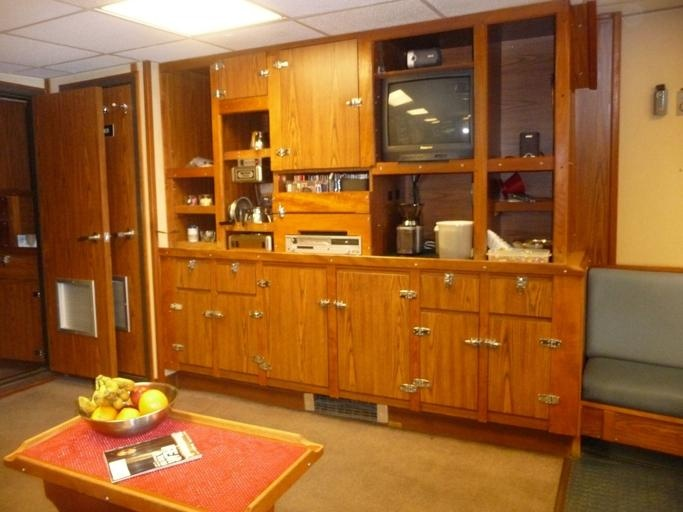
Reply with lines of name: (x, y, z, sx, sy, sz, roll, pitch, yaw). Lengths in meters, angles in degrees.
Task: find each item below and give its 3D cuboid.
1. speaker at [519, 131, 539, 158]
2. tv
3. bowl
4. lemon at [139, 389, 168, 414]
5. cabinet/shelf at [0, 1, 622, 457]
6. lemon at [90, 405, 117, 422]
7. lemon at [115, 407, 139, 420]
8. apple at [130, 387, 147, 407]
speaker: (1.394, -0.830, 3.995, 0.150, 0.172, 0.163, -6, 15, -14)
tv: (0.614, -0.994, 3.868, 0.655, 0.615, 0.197, 2, 16, 14)
bowl: (-1.080, 0.783, 2.710, 0.351, 0.105, 0.317, 2, 15, 8)
lemon: (-0.967, 0.730, 2.775, 0.127, 0.112, 0.145, -8, 2, 33)
cabinet/shelf: (-0.100, -0.236, 4.041, 3.765, 2.131, 0.597, 0, 0, 18)
lemon: (-1.192, 0.783, 2.699, 0.090, 0.075, 0.083, 12, -5, -7)
lemon: (-1.081, 0.785, 2.724, 0.072, 0.060, 0.064, -7, 12, -1)
apple: (-1.094, 0.735, 2.836, 0.085, 0.078, 0.086, 13, -5, -36)
